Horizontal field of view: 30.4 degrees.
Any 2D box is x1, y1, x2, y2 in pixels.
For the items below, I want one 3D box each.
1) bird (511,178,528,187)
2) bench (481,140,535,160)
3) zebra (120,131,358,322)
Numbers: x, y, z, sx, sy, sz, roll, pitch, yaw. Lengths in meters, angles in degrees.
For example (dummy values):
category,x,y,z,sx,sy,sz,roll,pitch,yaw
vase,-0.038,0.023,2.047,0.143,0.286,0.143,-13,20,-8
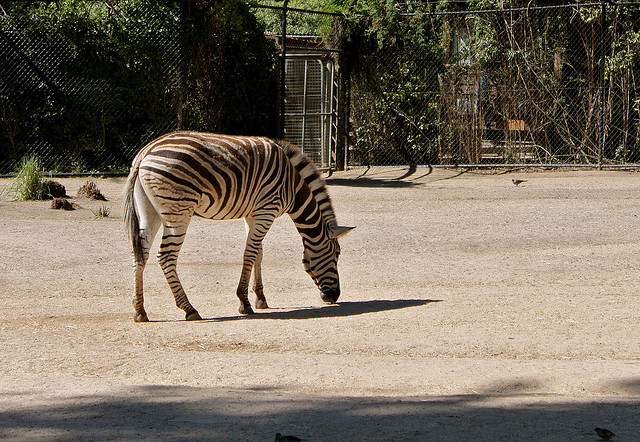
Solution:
category,x,y,z,sx,sy,sz,roll,pitch,yaw
bird,4.141,-0.793,24.380,0.307,0.125,0.507,-1,6,11
bench,4.223,-1.595,26.499,1.170,0.459,0.300,-1,6,7
zebra,-1.218,0.162,17.327,3.762,2.734,1.041,6,-5,-34
